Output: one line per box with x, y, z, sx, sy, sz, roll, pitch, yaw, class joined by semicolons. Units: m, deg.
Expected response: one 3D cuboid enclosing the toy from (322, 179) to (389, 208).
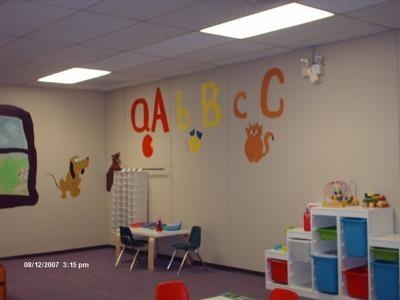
2.183;0.643;4.611;0.598;0.235;0.395;0;-3;36;toy

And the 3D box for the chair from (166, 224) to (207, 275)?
-0.192;1.986;6.636;0.848;1.192;0.714;7;-9;-38;chair
